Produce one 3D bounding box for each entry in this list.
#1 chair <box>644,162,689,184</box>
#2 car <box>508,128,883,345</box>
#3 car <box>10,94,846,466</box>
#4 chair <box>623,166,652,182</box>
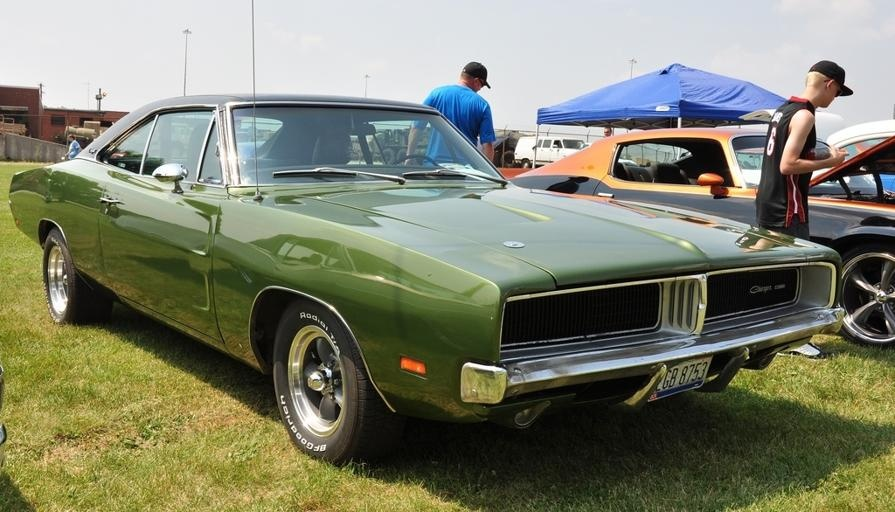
[{"bbox_3d":[2.509,-0.927,6.493,0.331,0.262,0.283,-2,1,-24],"label":"chair"},{"bbox_3d":[2.546,-0.495,6.913,4.672,1.280,2.226,6,10,34],"label":"car"},{"bbox_3d":[-1.062,0.016,4.435,5.412,1.366,2.674,12,13,43],"label":"car"},{"bbox_3d":[2.222,-0.945,6.648,0.283,0.242,0.195,-4,7,-29],"label":"chair"}]
